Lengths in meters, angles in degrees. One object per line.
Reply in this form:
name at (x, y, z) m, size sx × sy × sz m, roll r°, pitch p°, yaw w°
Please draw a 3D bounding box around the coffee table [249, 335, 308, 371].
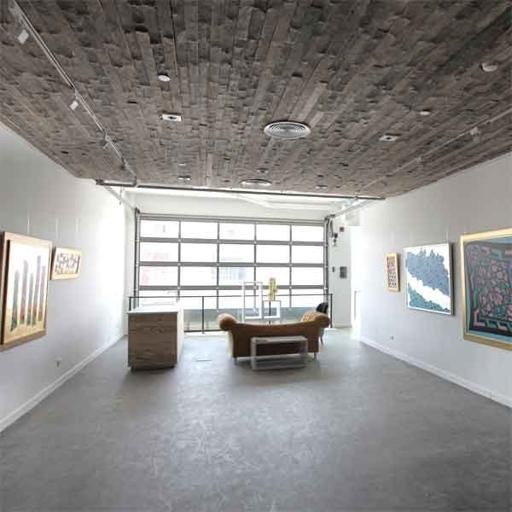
coffee table at (0.399, 1.730, 6.530) m, size 1.016 × 0.504 × 0.474 m, roll 0°, pitch -2°, yaw -15°
